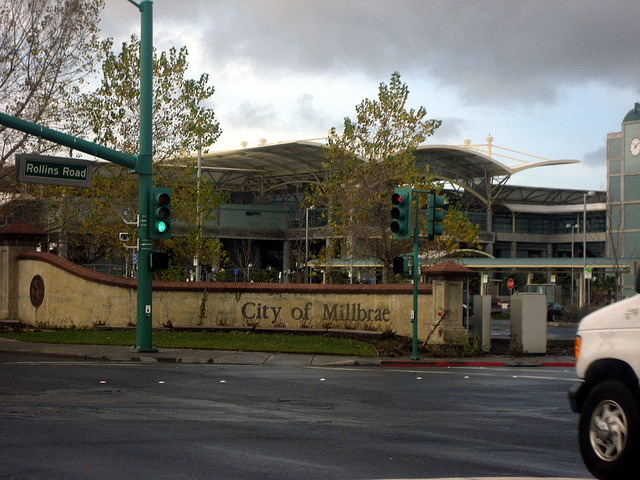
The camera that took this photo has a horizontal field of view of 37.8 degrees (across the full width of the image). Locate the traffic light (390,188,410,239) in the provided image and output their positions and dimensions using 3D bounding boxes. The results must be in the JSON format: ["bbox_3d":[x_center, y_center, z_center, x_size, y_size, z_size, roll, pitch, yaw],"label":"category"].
[{"bbox_3d":[2.463,-0.824,28.942,0.763,1.560,0.339,5,-6,-32],"label":"traffic light"}]

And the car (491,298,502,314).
[{"bbox_3d":[12.301,4.613,65.337,0.633,1.160,2.948,2,-6,10],"label":"car"}]

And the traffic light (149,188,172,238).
[{"bbox_3d":[-4.933,-0.806,28.815,0.645,1.488,0.412,3,-5,-6],"label":"traffic light"}]
